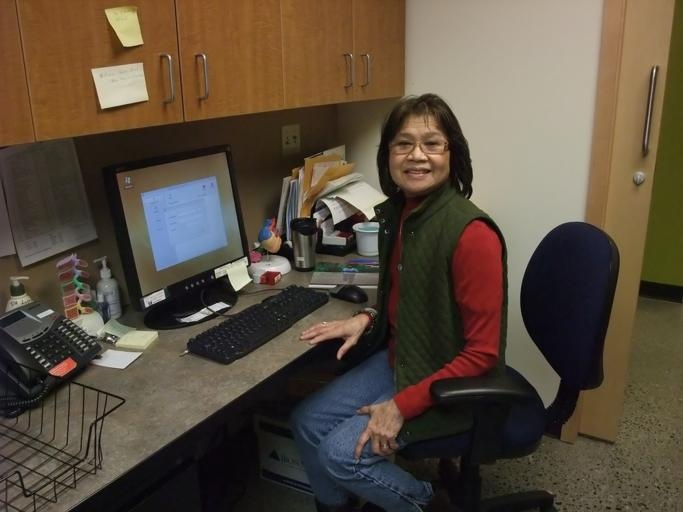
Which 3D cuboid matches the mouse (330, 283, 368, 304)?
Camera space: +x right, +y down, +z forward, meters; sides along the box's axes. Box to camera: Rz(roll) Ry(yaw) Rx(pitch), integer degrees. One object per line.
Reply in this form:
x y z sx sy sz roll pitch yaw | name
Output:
0.037 0.132 1.947 0.116 0.042 0.068 13 25 32 | mouse

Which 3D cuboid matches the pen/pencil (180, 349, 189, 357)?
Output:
-0.493 0.305 1.588 0.014 0.005 0.019 16 29 35 | pen/pencil

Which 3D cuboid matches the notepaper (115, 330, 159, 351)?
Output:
-0.665 0.270 1.636 0.069 0.017 0.070 2 25 10 | notepaper

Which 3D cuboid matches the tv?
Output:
-0.615 -0.059 1.808 0.210 0.568 0.518 4 24 36 | tv

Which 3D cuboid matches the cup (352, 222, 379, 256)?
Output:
0.116 -0.070 2.405 0.144 0.108 0.142 0 28 0 | cup

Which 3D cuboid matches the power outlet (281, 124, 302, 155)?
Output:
-0.255 -0.586 2.510 0.013 0.133 0.132 13 30 30 | power outlet

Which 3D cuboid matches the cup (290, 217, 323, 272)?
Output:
-0.160 -0.049 2.195 0.148 0.237 0.148 0 25 0 | cup
